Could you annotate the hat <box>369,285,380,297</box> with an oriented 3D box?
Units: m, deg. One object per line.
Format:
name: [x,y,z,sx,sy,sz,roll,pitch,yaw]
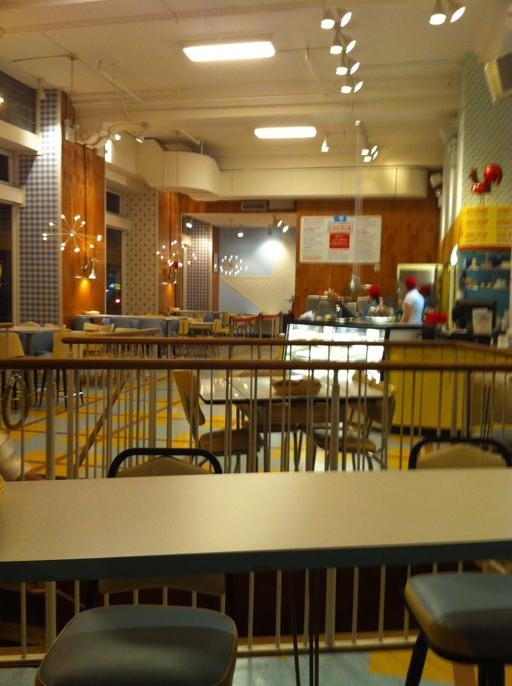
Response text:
hat: [1.611,-0.693,8.115,0.123,0.185,0.364,3,3,8]

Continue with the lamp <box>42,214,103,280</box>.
lamp: [-3.136,-1.658,10.370,0.407,1.091,1.507,3,3,11]

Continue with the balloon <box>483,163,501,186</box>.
balloon: [2.827,-2.013,7.186,0.216,0.278,0.213,-11,13,15]
